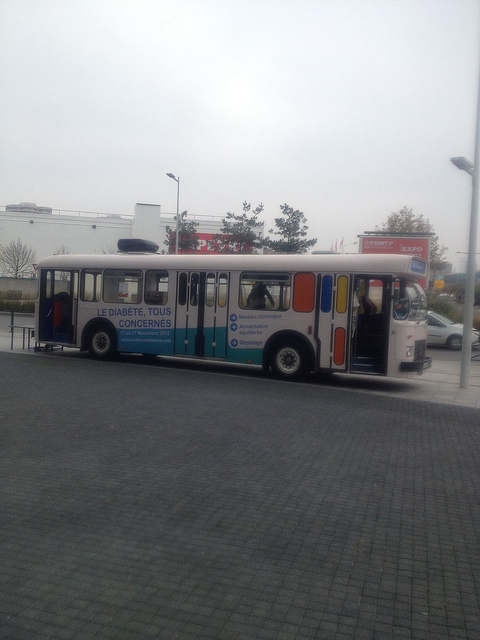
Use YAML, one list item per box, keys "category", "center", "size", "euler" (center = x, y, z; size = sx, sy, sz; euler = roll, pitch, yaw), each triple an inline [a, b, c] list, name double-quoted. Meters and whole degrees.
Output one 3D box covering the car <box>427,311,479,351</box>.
- category: "car"
  center: [8.943, 0.488, 21.528]
  size: [2.182, 1.480, 1.464]
  euler: [0, 5, 17]
